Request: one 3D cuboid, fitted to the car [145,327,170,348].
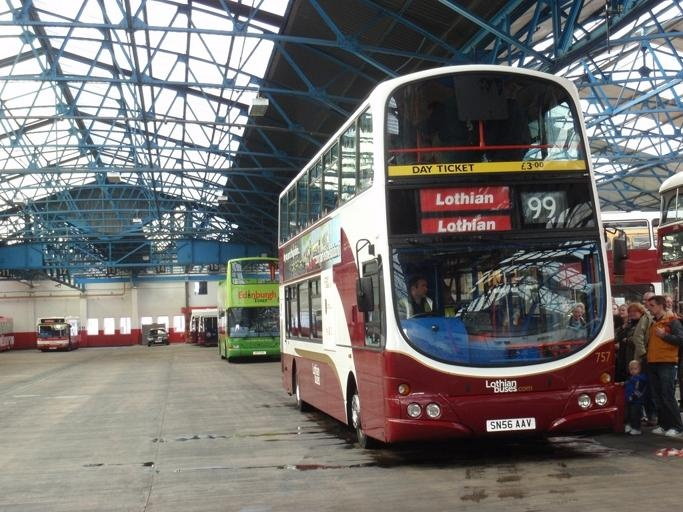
[{"bbox_3d":[-21.754,9.603,70.516,2.327,2.032,2.194,0,-6,-19],"label":"car"}]

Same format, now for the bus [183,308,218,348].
[{"bbox_3d":[-14.893,7.667,64.287,3.426,3.627,8.510,2,-1,-13],"label":"bus"}]
